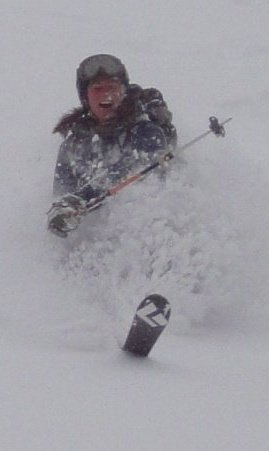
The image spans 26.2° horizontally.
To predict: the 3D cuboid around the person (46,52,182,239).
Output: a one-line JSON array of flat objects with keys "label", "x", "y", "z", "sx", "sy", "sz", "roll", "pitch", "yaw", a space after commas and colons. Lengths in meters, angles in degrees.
[{"label": "person", "x": -0.136, "y": -0.591, "z": 4.351, "sx": 0.973, "sy": 1.044, "sz": 1.007, "roll": -1, "pitch": 45, "yaw": 4}]
